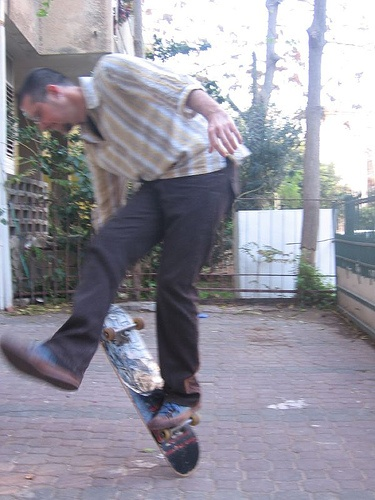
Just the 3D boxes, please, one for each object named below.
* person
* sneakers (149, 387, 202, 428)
[{"bbox_3d":[-0.237,-0.033,1.929,0.929,1.452,0.664,2,1,3],"label":"person"},{"bbox_3d":[-0.005,0.626,1.944,0.245,0.142,0.083,-2,-21,-41],"label":"sneakers"}]
